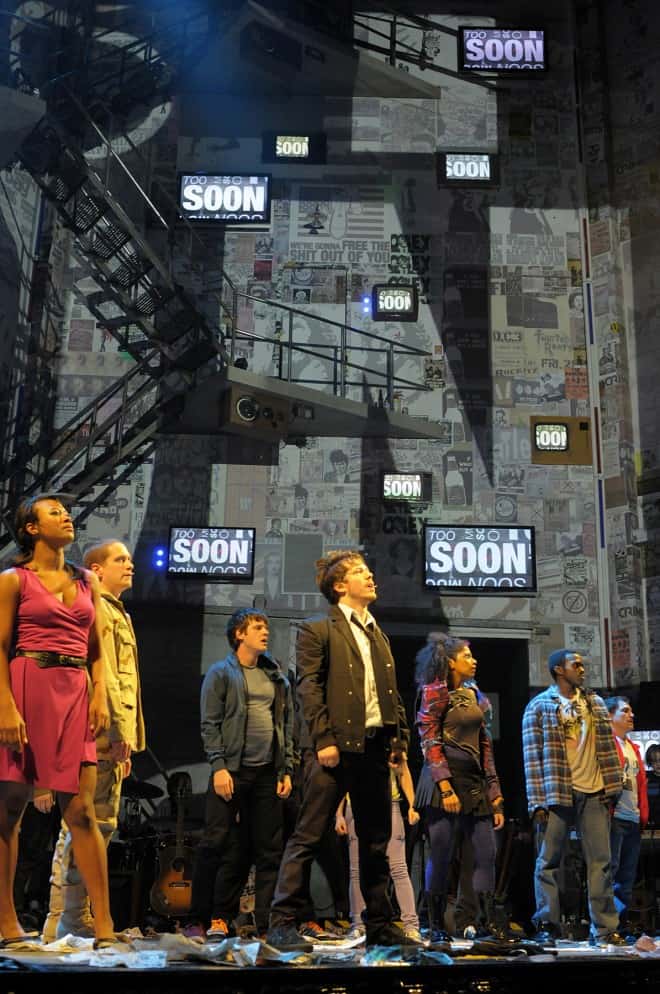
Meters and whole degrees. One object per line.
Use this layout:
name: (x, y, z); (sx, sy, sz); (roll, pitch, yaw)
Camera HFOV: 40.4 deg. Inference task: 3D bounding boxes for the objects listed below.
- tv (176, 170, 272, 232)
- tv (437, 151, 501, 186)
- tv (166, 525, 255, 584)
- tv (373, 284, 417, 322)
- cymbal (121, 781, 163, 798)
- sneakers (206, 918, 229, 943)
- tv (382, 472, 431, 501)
tv: (-1.116, -3.067, 9.283); (0.863, 0.454, 0.083); (1, -14, 0)
tv: (1.442, -3.459, 9.230); (0.766, 0.372, 0.460); (2, 3, 2)
tv: (-1.123, 0.555, 8.370); (0.631, 0.404, 0.080); (1, -30, 1)
tv: (0.665, -1.971, 9.144); (0.392, 0.295, 0.124); (2, -10, -2)
cymbal: (-1.353, 2.139, 6.455); (0.215, 0.046, 0.207); (0, 1, -36)
sneakers: (-0.505, 1.966, 4.065); (0.077, 0.087, 0.207); (2, -30, 0)
tv: (0.753, -0.092, 8.606); (0.512, 0.249, 0.308); (0, -1, 1)
